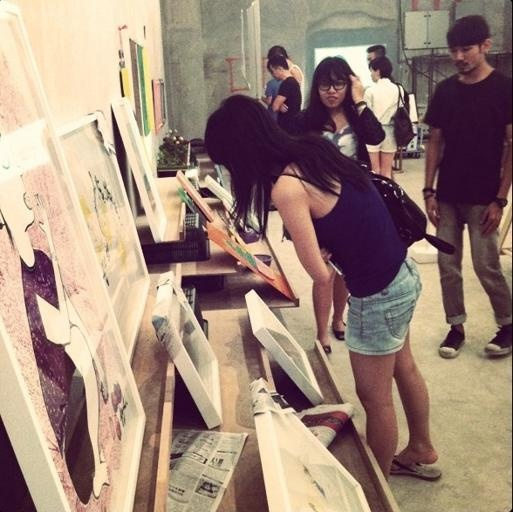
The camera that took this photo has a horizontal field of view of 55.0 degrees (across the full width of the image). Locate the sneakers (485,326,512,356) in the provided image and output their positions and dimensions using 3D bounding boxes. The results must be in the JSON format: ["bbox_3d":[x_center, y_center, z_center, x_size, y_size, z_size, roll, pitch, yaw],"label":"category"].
[{"bbox_3d":[1.561,0.544,3.156,0.237,0.124,0.089,-12,6,-37],"label":"sneakers"}]

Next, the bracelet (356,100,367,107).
[{"bbox_3d":[0.666,-0.982,3.156,0.039,0.051,0.041,13,12,18],"label":"bracelet"}]

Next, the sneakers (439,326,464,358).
[{"bbox_3d":[1.276,0.562,3.210,0.094,0.126,0.277,2,14,29],"label":"sneakers"}]

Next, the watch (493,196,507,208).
[{"bbox_3d":[1.426,-0.330,2.881,0.054,0.062,0.027,27,31,6],"label":"watch"}]
